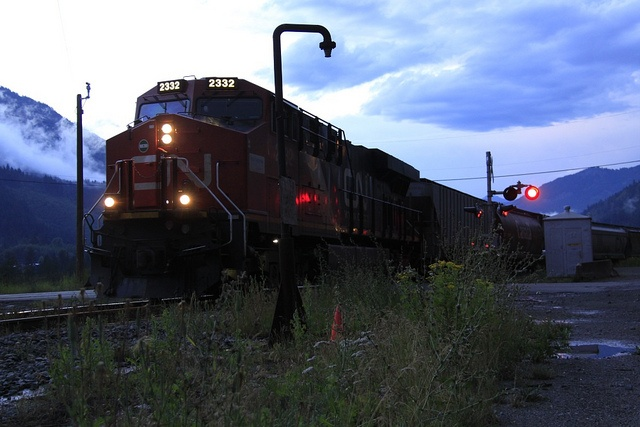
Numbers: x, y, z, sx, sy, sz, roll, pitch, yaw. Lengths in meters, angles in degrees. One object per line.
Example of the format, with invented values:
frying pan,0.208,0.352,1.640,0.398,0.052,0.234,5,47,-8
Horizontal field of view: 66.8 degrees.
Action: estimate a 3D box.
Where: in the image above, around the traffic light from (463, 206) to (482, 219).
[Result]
traffic light,6.870,-0.066,21.951,0.670,0.409,0.559,2,-4,35
